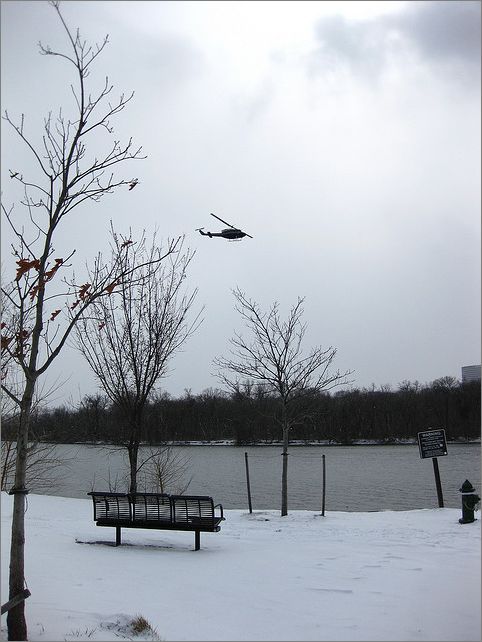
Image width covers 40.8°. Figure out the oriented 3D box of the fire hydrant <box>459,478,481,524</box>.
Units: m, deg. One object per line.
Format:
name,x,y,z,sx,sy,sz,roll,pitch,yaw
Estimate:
fire hydrant,4.023,3.148,11.363,0.321,0.660,1.525,-3,-10,20
